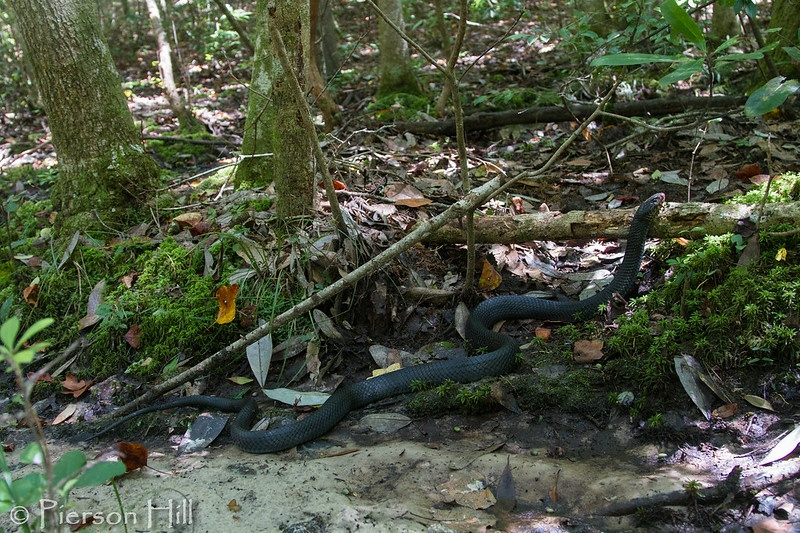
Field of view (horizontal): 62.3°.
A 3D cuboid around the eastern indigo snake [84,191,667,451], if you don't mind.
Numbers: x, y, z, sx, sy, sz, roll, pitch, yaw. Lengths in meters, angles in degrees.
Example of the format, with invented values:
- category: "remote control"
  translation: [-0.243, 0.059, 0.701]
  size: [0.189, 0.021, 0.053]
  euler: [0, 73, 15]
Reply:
- category: "eastern indigo snake"
  translation: [-0.209, 0.567, 6.073]
  size: [4.316, 0.737, 0.752]
  euler: [-19, 55, 0]
